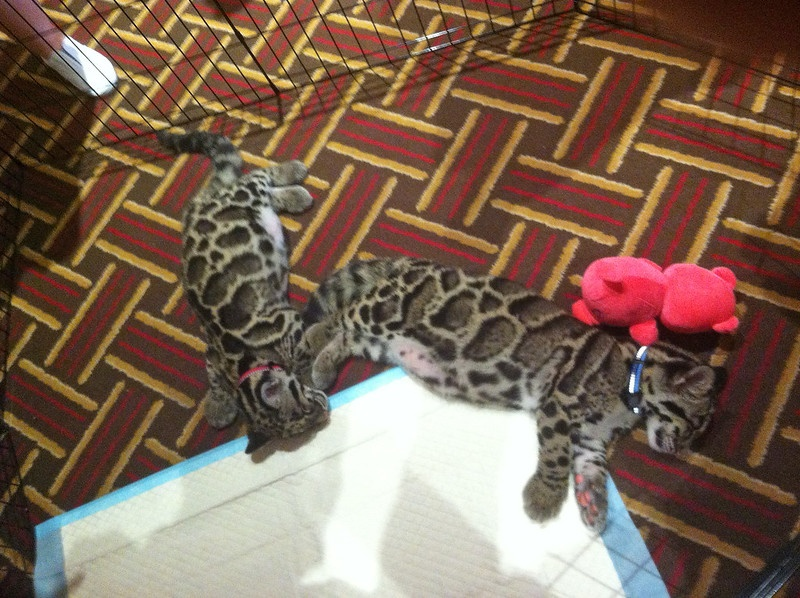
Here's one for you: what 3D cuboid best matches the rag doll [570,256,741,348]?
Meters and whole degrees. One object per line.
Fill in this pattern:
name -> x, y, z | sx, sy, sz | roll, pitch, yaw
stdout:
rag doll -> 1.223, 0.007, 3.992 | 0.568, 0.433, 0.245 | 0, -36, 16

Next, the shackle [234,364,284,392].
shackle -> -0.683, 0.396, 4.123 | 0.136, 0.038, 0.146 | -10, 16, 15

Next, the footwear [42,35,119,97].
footwear -> -1.778, -1.297, 4.756 | 0.424, 0.221, 0.166 | 34, -3, -21
